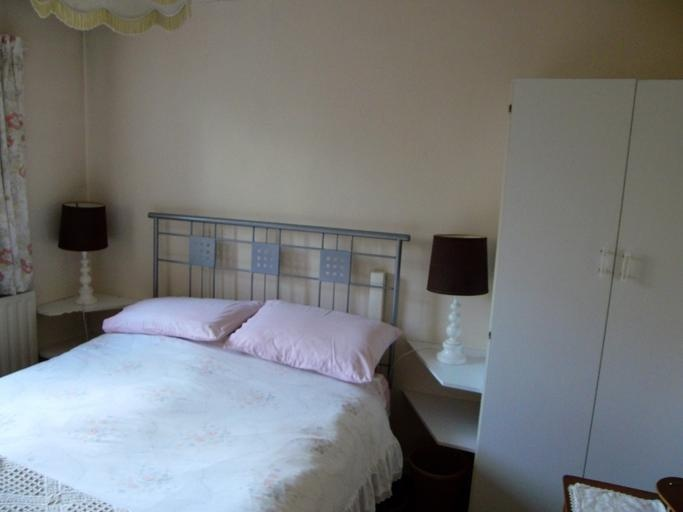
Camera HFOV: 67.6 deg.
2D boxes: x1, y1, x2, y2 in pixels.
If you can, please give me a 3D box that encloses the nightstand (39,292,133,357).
[{"bbox_3d":[-1.900,0.423,3.719,0.393,0.316,0.583,8,13,30],"label":"nightstand"}]
